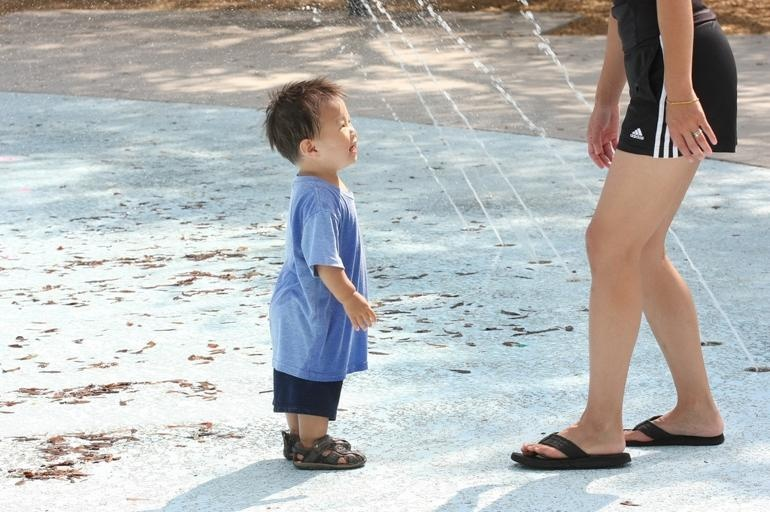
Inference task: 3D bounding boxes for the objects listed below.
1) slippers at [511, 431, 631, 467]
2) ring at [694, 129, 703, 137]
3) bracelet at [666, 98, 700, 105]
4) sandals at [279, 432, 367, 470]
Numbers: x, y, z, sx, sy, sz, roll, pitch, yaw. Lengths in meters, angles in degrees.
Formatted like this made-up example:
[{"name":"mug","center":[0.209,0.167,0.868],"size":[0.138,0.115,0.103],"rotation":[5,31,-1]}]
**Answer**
[{"name":"slippers","center":[0.729,0.775,3.629],"size":[0.452,0.130,0.110],"rotation":[-3,19,3]},{"name":"ring","center":[1.174,-0.465,3.454],"size":[0.044,0.029,0.015],"rotation":[-7,-2,-3]},{"name":"bracelet","center":[1.124,-0.585,3.465],"size":[0.112,0.023,0.043],"rotation":[-2,14,6]},{"name":"sandals","center":[-0.234,0.795,3.668],"size":[0.268,0.128,0.120],"rotation":[-8,18,-11]}]
